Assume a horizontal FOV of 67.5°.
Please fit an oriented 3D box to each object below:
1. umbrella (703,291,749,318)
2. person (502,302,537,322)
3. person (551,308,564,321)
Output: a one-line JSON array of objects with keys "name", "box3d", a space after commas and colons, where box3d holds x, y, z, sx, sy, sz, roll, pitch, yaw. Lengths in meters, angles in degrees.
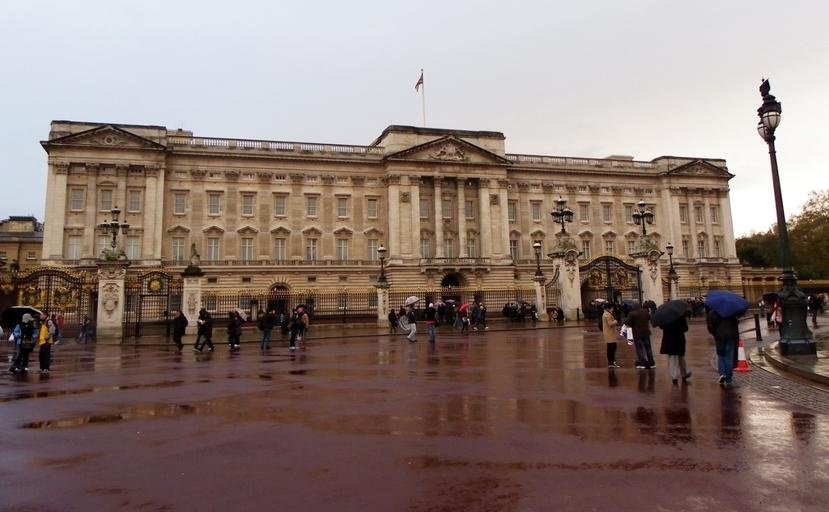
[{"name": "umbrella", "box3d": [8.150, 1.288, 16.334, 0.978, 0.705, 1.001, 0, 4, 23]}, {"name": "person", "box3d": [6.918, 3.748, 41.496, 1.510, 0.826, 1.679, 1, -2, 3]}, {"name": "person", "box3d": [8.946, 3.636, 38.890, 0.637, 0.796, 0.303, 2, -1, 3]}]
